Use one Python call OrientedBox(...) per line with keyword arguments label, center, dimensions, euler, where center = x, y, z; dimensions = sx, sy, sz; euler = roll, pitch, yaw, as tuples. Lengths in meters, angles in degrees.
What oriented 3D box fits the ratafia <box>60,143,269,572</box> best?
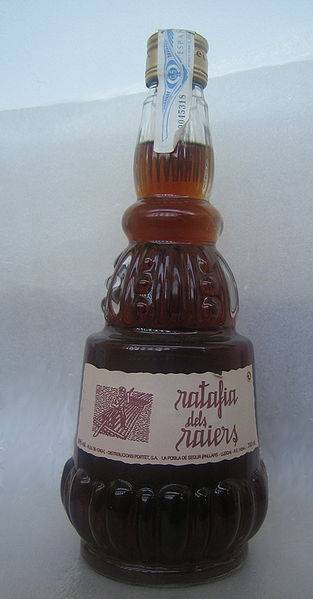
OrientedBox(label="ratafia", center=(0.002, 0.049, 0.573), dimensions=(0.246, 0.493, 0.173), euler=(1, 2, 13))
